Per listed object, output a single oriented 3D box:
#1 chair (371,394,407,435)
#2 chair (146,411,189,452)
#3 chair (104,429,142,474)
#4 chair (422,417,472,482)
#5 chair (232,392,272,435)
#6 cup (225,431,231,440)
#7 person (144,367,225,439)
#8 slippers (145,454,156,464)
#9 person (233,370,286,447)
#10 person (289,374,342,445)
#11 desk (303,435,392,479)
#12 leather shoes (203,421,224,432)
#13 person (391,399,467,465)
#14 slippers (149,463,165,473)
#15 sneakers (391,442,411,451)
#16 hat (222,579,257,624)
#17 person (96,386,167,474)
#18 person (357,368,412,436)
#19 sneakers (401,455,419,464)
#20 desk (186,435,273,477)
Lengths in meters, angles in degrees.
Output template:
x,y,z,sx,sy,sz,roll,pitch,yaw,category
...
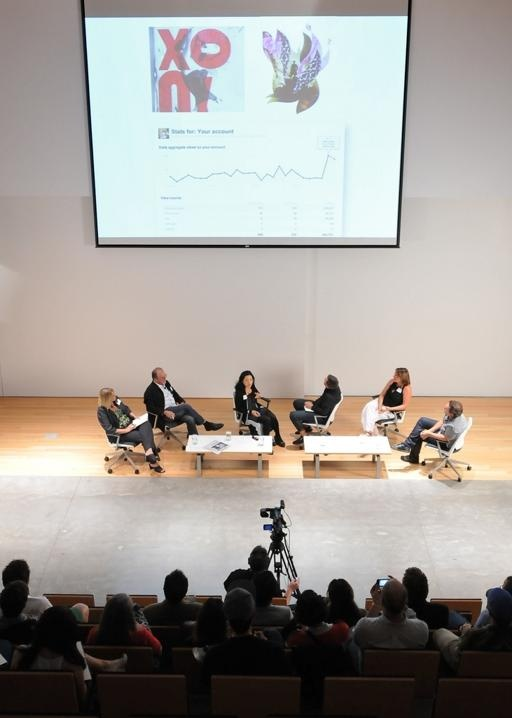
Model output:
x,y,z,sx,sy,sz,roll,pitch,yaw,category
1.691,0.738,6.791,0.388,0.464,0.412,-3,10,-16,chair
-1.128,0.840,6.666,0.484,0.636,0.477,1,11,14,chair
-1.503,1.042,6.094,0.409,0.445,0.428,3,8,8,chair
2.095,0.913,5.810,0.486,0.609,0.508,10,18,30,chair
-0.068,0.676,6.604,0.411,0.656,0.448,7,12,34,chair
-0.312,0.846,5.938,0.075,0.134,0.073,0,17,0,cup
-0.892,0.584,6.459,0.933,0.907,0.478,5,24,20,person
-1.172,1.082,5.824,0.076,0.065,0.144,1,5,0,slippers
0.037,0.589,6.471,0.641,0.906,0.629,1,15,6,person
0.750,0.616,6.633,0.541,0.973,0.446,13,26,14,person
0.984,1.032,5.762,0.907,0.294,0.512,0,14,3,desk
-0.548,0.832,6.775,0.278,0.191,0.110,-4,15,0,leather shoes
1.910,0.797,5.825,0.673,0.869,0.404,17,30,20,person
-1.090,1.186,5.821,0.154,0.068,0.168,-5,15,-17,slippers
1.701,0.996,6.184,0.204,0.085,0.069,4,9,18,sneakers
-0.080,1.044,2.281,0.112,0.101,0.168,0,24,0,hat
-1.362,0.727,5.938,0.660,0.903,0.463,2,15,10,person
1.623,0.570,6.642,0.587,0.945,0.529,0,24,-14,person
1.741,1.122,5.968,0.068,0.075,0.183,-21,32,-40,sneakers
-0.301,1.017,5.893,0.966,0.404,0.714,-1,14,-1,desk
